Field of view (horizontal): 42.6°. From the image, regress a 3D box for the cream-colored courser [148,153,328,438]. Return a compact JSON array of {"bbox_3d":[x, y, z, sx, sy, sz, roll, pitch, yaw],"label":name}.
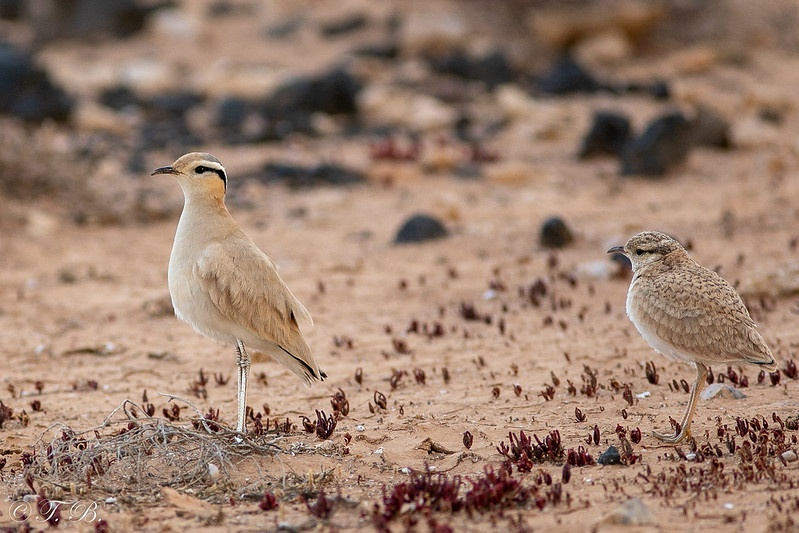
[{"bbox_3d":[-2.513,0.335,15.519,1.806,4.366,0.528,-14,-8,-11],"label":"cream-colored courser"}]
